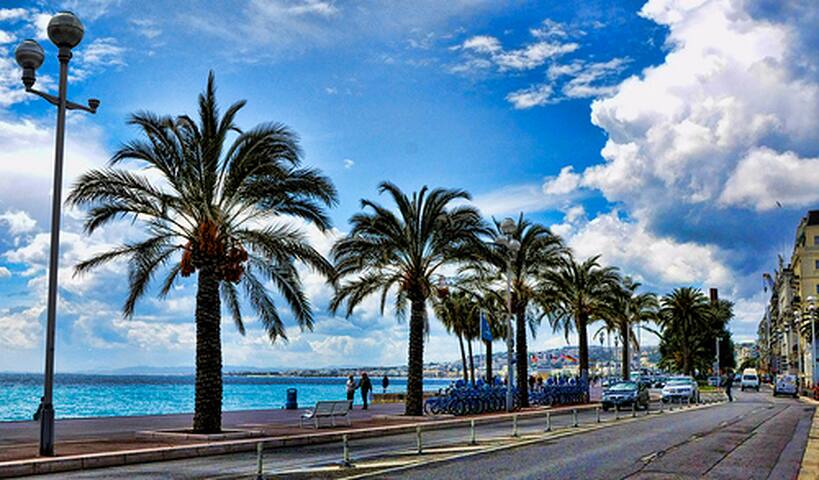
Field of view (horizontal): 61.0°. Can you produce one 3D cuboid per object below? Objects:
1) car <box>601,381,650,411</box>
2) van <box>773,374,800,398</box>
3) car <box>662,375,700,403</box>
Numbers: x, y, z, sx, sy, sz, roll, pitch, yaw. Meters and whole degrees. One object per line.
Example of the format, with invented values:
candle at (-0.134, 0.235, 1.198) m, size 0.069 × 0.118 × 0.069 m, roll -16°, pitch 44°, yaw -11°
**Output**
car at (14.263, 10.312, 46.439) m, size 2.234 × 1.814 × 3.420 m, roll -8°, pitch -15°, yaw 28°
van at (36.857, 14.209, 68.624) m, size 2.169 × 1.781 × 3.510 m, roll 0°, pitch -2°, yaw 22°
car at (21.018, 11.628, 54.577) m, size 2.364 × 2.067 × 3.825 m, roll -7°, pitch -14°, yaw 26°
